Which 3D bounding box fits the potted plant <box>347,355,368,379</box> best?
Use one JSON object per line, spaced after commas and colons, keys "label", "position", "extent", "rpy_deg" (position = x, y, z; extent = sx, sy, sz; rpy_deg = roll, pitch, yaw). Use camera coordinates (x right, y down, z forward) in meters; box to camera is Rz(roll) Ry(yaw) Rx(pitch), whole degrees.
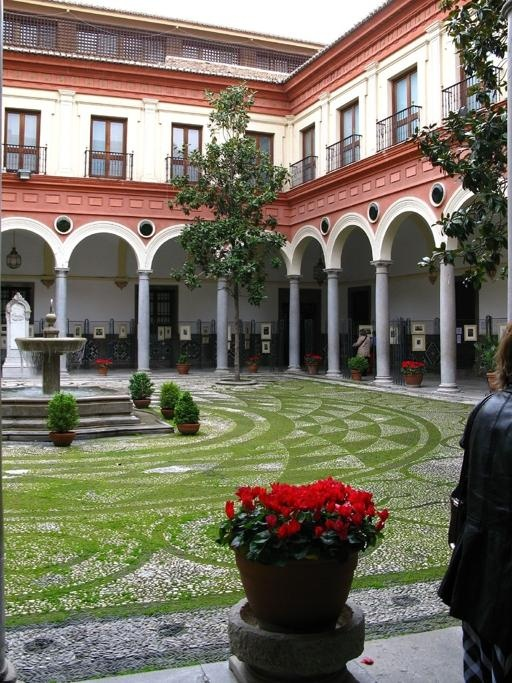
{"label": "potted plant", "position": [2.800, 0.688, 16.279], "extent": [0.569, 0.604, 0.579], "rpy_deg": [0, 5, -28]}

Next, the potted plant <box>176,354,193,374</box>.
{"label": "potted plant", "position": [-2.367, 0.741, 19.134], "extent": [0.529, 0.740, 0.542], "rpy_deg": [2, -1, 26]}

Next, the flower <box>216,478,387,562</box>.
{"label": "flower", "position": [0.121, 0.521, 1.761], "extent": [0.393, 0.180, 0.409], "rpy_deg": [-1, -1, -44]}

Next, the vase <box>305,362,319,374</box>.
{"label": "vase", "position": [1.804, 0.824, 18.576], "extent": [0.402, 0.302, 0.404], "rpy_deg": [1, -6, -7]}

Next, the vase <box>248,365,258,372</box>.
{"label": "vase", "position": [-0.097, 0.891, 19.755], "extent": [0.260, 0.199, 0.244], "rpy_deg": [5, -7, -44]}

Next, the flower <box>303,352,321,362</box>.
{"label": "flower", "position": [1.750, 0.514, 18.423], "extent": [0.360, 0.250, 0.363], "rpy_deg": [1, 0, -9]}

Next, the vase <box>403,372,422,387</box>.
{"label": "vase", "position": [3.762, 0.883, 14.179], "extent": [0.364, 0.273, 0.368], "rpy_deg": [1, -7, -5]}

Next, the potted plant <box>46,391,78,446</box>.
{"label": "potted plant", "position": [-2.406, 0.965, 7.303], "extent": [0.407, 0.622, 0.365], "rpy_deg": [-11, -12, 30]}

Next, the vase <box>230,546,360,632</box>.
{"label": "vase", "position": [0.128, 0.729, 1.757], "extent": [0.334, 0.241, 0.316], "rpy_deg": [3, -11, -15]}

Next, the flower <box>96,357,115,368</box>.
{"label": "flower", "position": [-4.722, 0.646, 18.241], "extent": [0.431, 0.285, 0.436], "rpy_deg": [1, -2, 3]}

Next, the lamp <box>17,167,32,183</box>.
{"label": "lamp", "position": [-6.437, -4.657, 16.400], "extent": [0.385, 0.391, 0.265], "rpy_deg": [-1, 7, -15]}

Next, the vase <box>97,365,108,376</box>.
{"label": "vase", "position": [-4.717, 0.879, 18.131], "extent": [0.296, 0.245, 0.293], "rpy_deg": [3, -6, -29]}

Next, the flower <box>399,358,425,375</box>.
{"label": "flower", "position": [3.772, 0.608, 14.223], "extent": [0.524, 0.265, 0.450], "rpy_deg": [-2, -1, 13]}

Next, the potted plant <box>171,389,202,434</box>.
{"label": "potted plant", "position": [-0.955, 1.009, 8.187], "extent": [0.411, 0.541, 0.404], "rpy_deg": [4, -11, -34]}

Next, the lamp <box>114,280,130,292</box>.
{"label": "lamp", "position": [-4.983, -2.082, 21.787], "extent": [0.355, 0.282, 0.375], "rpy_deg": [-3, 4, 10]}

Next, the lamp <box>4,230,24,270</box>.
{"label": "lamp", "position": [-8.301, -3.173, 20.155], "extent": [0.504, 1.306, 1.125], "rpy_deg": [-2, -1, -23]}

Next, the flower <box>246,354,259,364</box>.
{"label": "flower", "position": [-0.070, 0.583, 19.878], "extent": [0.302, 0.262, 0.279], "rpy_deg": [1, -2, -14]}
